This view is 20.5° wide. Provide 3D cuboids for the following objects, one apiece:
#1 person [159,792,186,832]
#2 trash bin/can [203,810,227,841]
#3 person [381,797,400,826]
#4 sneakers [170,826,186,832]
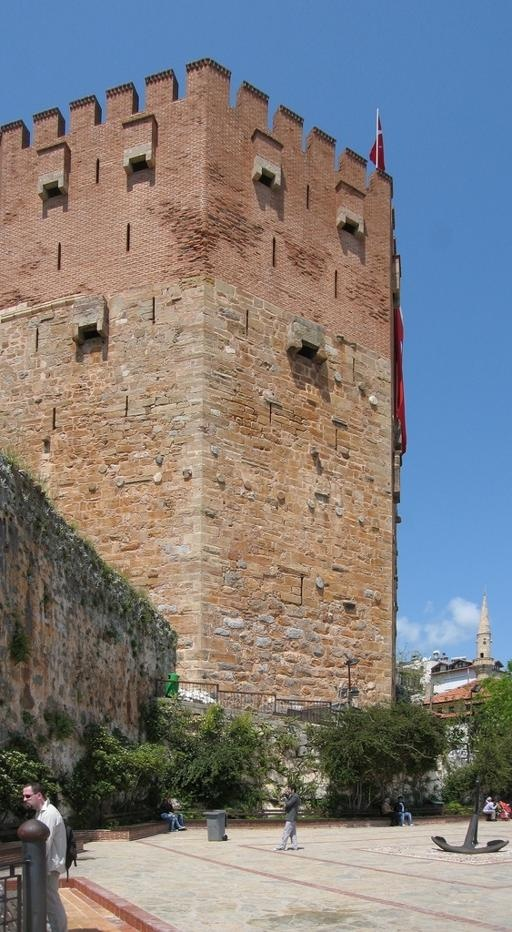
[{"bbox_3d":[-1.213,5.008,20.455,0.405,0.786,0.274,-6,-9,13],"label":"person"},{"bbox_3d":[-0.498,4.682,18.542,0.272,0.472,0.375,-2,-8,8],"label":"trash bin/can"},{"bbox_3d":[2.320,5.876,24.394,0.309,0.341,0.927,11,-5,7],"label":"person"},{"bbox_3d":[-1.094,5.132,20.135,0.230,0.107,0.075,-10,-14,21],"label":"sneakers"}]
